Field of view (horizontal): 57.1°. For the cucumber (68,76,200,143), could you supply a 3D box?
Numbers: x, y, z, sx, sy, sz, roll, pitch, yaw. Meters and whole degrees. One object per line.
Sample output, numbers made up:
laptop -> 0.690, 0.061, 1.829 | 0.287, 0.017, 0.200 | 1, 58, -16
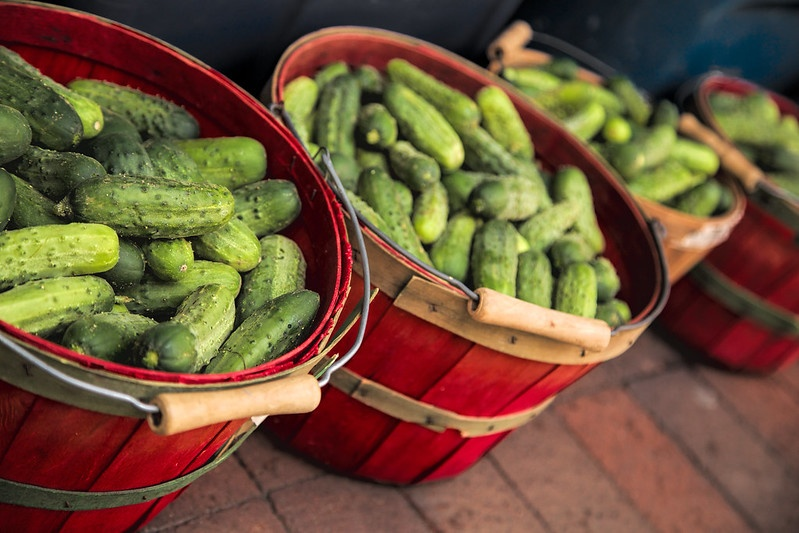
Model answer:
cucumber -> -0.892, -0.525, 2.509 | 0.419, 0.168, 0.168 | 20, 32, -9
